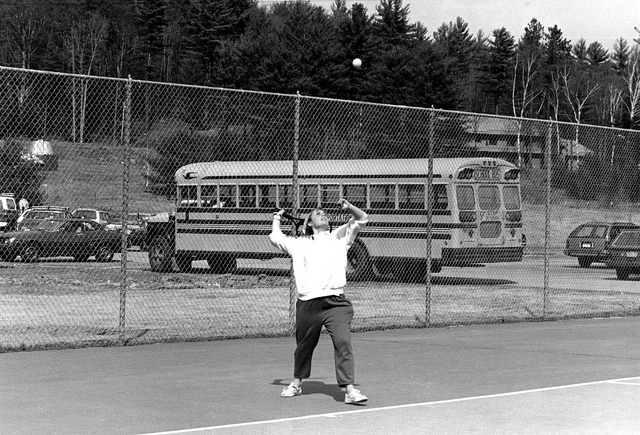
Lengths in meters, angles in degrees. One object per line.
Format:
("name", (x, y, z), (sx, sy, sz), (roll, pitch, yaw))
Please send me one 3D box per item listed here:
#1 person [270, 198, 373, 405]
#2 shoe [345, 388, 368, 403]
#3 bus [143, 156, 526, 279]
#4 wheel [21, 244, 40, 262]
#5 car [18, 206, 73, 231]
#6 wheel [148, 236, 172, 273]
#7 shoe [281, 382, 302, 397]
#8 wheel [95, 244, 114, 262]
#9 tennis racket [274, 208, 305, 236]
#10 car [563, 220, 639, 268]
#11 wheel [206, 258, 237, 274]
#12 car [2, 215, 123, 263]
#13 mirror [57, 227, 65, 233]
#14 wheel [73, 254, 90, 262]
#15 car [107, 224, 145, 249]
("person", (0.017, 1.147, 14.109), (1.396, 2.810, 0.710), (1, 2, 10))
("shoe", (0.495, 2.442, 13.813), (0.304, 0.211, 0.245), (1, 2, 1))
("bus", (0.279, -0.280, 30.553), (9.183, 2.669, 4.550), (1, 0, 20))
("wheel", (-10.024, 1.248, 34.787), (0.605, 0.569, 0.216), (-2, 15, -3))
("car", (-10.277, -0.002, 36.928), (0.979, 0.748, 2.108), (0, 7, 3))
("wheel", (-5.125, 1.182, 32.351), (0.359, 1.033, 0.971), (-4, -12, -42))
("shoe", (-0.406, 2.420, 14.197), (0.300, 0.192, 0.203), (1, 2, -10))
("wheel", (-7.842, 1.298, 36.476), (0.779, 0.696, 0.277), (3, 12, -46))
("tennis racket", (-0.437, 0.058, 14.928), (0.534, 0.278, 0.126), (17, 20, 17))
("car", (9.814, 0.883, 35.107), (1.449, 0.976, 2.665), (-1, 5, 37))
("wheel", (-3.135, 1.526, 32.309), (0.672, 0.623, 0.175), (10, 46, -1))
("car", (-9.222, 0.829, 35.587), (3.808, 1.230, 1.693), (1, -2, -18))
("mirror", (-9.259, 0.465, 35.834), (0.132, 0.168, 0.391), (1, 2, 9))
("wheel", (-8.641, 1.480, 36.357), (0.571, 0.298, 0.486), (1, 2, -14))
("car", (-6.907, 0.677, 35.834), (1.090, 0.839, 1.813), (0, -3, -1))
